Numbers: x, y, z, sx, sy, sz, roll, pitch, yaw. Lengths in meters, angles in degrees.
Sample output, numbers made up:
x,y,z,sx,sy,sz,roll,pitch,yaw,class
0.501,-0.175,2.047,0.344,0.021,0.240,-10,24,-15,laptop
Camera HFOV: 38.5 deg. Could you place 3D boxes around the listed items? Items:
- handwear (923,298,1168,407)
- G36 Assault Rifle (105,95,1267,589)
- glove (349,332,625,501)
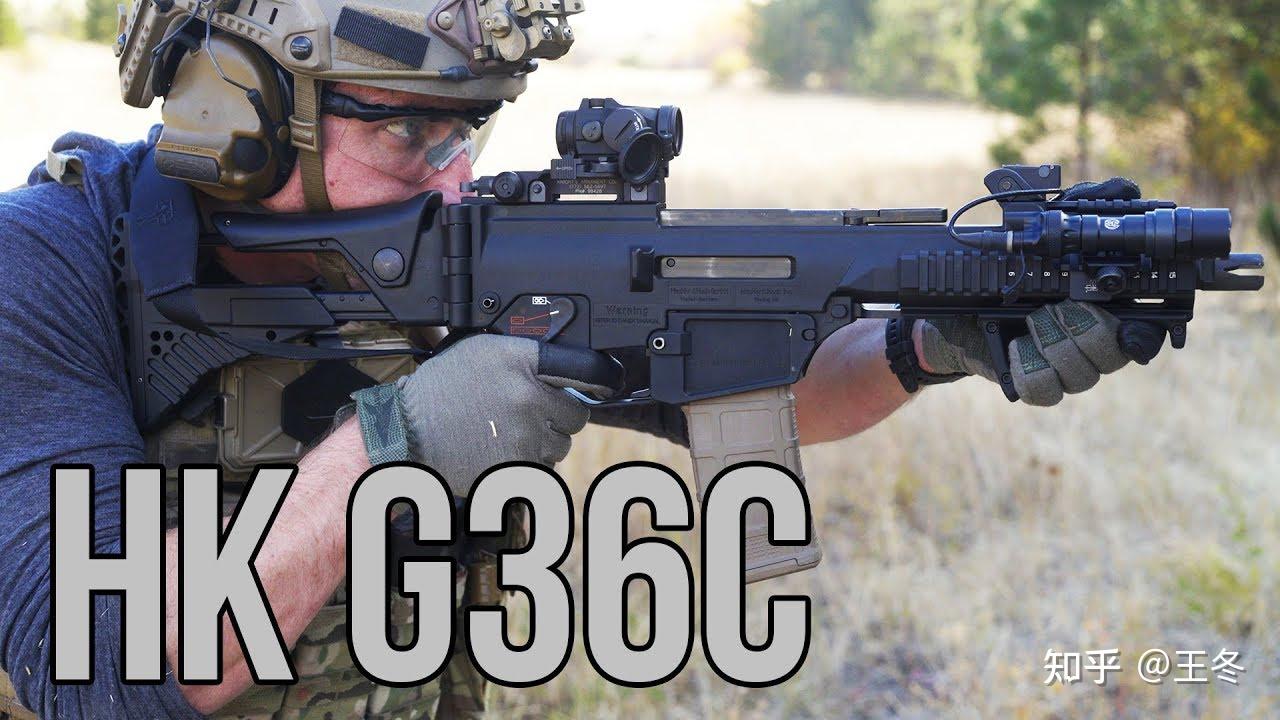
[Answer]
x,y,z,sx,sy,sz,roll,pitch,yaw,class
1.494,-0.039,7.128,0.730,0.441,0.222,4,20,15,handwear
0.542,-0.309,9.487,5.276,2.369,3.009,2,90,11,G36 Assault Rifle
-0.572,0.180,7.143,0.982,0.308,0.537,-19,70,-18,glove
